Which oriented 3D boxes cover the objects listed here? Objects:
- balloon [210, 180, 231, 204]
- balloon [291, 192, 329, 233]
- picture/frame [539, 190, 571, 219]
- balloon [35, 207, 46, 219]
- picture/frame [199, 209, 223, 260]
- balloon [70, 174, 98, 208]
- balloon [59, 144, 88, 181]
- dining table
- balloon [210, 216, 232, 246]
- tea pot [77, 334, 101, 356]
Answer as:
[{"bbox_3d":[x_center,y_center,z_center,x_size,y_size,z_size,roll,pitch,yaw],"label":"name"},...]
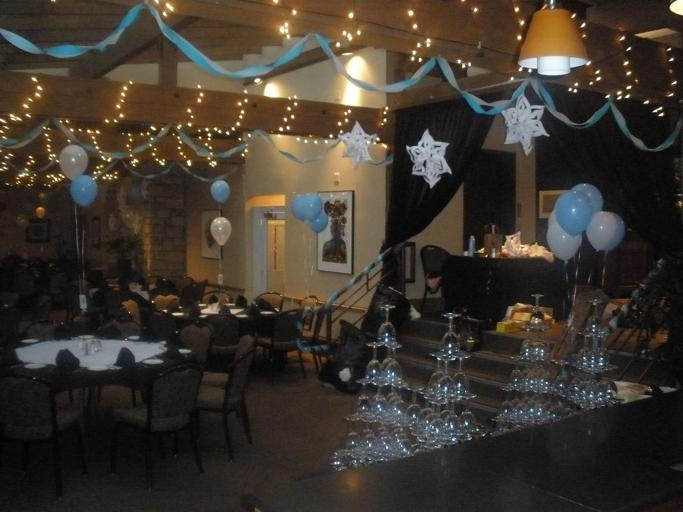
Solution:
[{"bbox_3d":[-2.074,-1.107,9.228,0.248,0.384,0.556,-1,7,-8],"label":"balloon"},{"bbox_3d":[-0.478,-0.652,8.089,0.445,0.580,0.631,1,7,7],"label":"balloon"},{"bbox_3d":[4.100,-0.970,10.367,0.137,0.525,0.537,6,3,-29],"label":"picture/frame"},{"bbox_3d":[-6.431,-0.932,11.420,0.187,0.170,0.220,1,5,3],"label":"balloon"},{"bbox_3d":[-2.968,-0.526,12.215,1.074,1.494,0.099,5,6,40],"label":"picture/frame"},{"bbox_3d":[-3.558,-0.892,7.395,0.343,0.433,0.339,0,-2,-25],"label":"balloon"},{"bbox_3d":[-3.689,-1.289,7.349,0.307,0.471,0.608,-4,7,-28],"label":"balloon"},{"bbox_3d":[2.525,0.247,7.789,1.111,0.739,1.108,-2,3,-38],"label":"dining table"},{"bbox_3d":[-2.032,-0.422,9.018,0.285,0.441,0.502,-3,7,-20],"label":"balloon"},{"bbox_3d":[-2.685,0.941,5.735,0.184,0.142,0.218,1,0,-35],"label":"tea pot"}]
